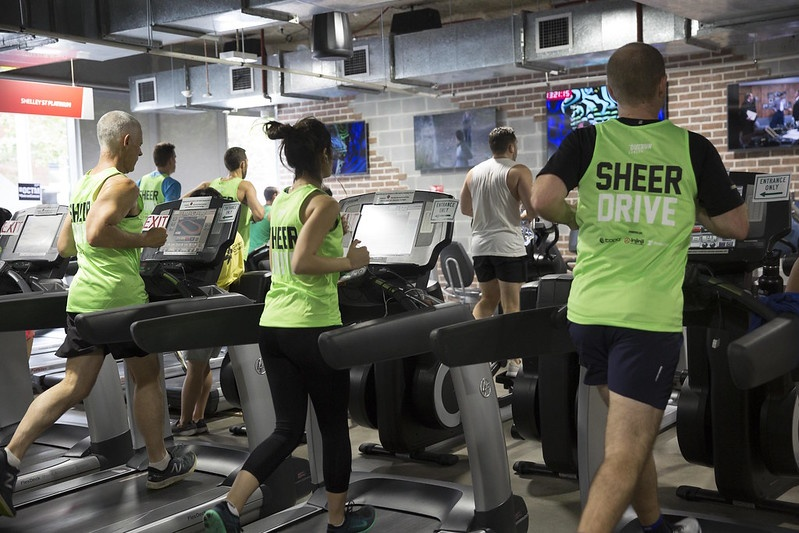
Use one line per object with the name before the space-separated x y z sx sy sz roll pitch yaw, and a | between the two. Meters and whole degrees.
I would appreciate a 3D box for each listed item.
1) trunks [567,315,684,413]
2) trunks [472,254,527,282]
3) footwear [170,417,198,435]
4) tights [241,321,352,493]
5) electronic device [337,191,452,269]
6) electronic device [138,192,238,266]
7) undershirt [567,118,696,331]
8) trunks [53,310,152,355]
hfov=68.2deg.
trunks | 0.787 0.269 2.097 0.276 0.329 0.464 -1 7 -43
trunks | 0.819 -0.075 4.849 0.377 0.279 0.224 4 6 40
footwear | -1.634 1.191 4.397 0.241 0.108 0.090 2 0 25
tights | -0.430 0.619 2.448 0.420 0.723 0.253 -2 8 1
electronic device | 0.001 -0.208 3.035 0.595 0.411 0.178 3 -17 36
electronic device | -1.340 -0.242 3.927 0.611 0.522 0.182 2 -20 33
undershirt | 0.789 -0.138 2.000 0.353 0.692 0.230 1 9 22
trunks | -1.522 0.341 3.087 0.427 0.269 0.266 -5 6 -42
